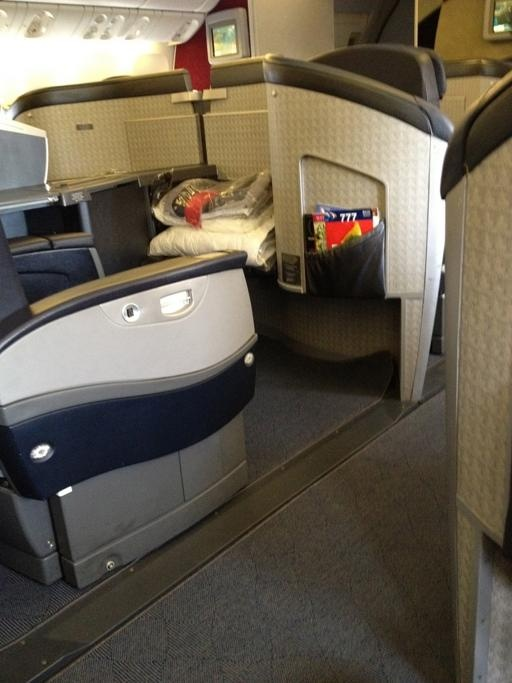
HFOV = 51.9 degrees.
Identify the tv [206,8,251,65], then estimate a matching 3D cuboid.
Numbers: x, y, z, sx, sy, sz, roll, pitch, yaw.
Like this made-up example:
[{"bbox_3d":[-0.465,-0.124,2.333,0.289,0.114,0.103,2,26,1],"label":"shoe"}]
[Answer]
[{"bbox_3d":[-0.283,-3.028,5.169,0.124,0.510,0.670,-11,16,-35],"label":"tv"}]
